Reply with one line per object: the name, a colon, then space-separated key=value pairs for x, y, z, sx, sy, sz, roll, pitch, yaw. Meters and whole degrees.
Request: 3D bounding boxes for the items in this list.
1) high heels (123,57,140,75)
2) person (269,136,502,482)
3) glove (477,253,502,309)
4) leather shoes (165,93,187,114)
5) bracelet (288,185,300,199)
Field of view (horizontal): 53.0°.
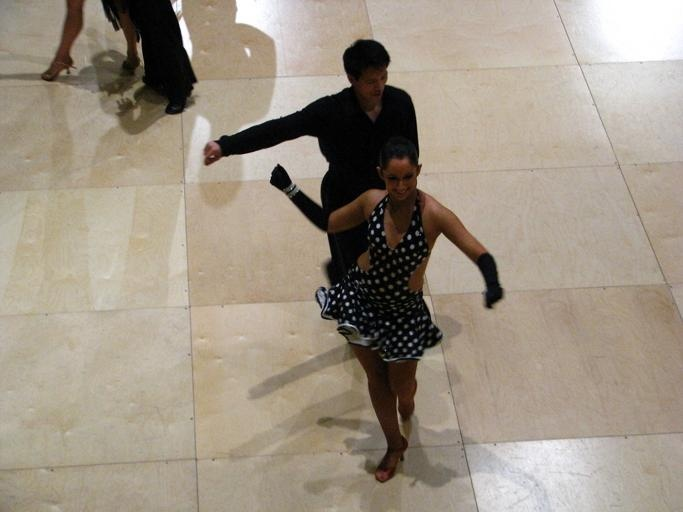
high heels: x=-1.571 y=-1.399 z=5.134 sx=0.104 sy=0.115 sz=0.123 roll=4 pitch=81 yaw=-9
person: x=0.217 y=0.390 z=3.752 sx=1.290 sy=2.054 sz=0.954 roll=6 pitch=34 yaw=13
glove: x=0.671 y=0.110 z=3.122 sx=0.114 sy=0.082 sz=0.237 roll=-11 pitch=72 yaw=15
leather shoes: x=-1.173 y=-1.063 z=4.864 sx=0.086 sy=0.070 sz=0.169 roll=39 pitch=77 yaw=-3
bracelet: x=-0.239 y=-0.309 z=3.352 sx=0.044 sy=0.061 sz=0.066 roll=8 pitch=91 yaw=-12
